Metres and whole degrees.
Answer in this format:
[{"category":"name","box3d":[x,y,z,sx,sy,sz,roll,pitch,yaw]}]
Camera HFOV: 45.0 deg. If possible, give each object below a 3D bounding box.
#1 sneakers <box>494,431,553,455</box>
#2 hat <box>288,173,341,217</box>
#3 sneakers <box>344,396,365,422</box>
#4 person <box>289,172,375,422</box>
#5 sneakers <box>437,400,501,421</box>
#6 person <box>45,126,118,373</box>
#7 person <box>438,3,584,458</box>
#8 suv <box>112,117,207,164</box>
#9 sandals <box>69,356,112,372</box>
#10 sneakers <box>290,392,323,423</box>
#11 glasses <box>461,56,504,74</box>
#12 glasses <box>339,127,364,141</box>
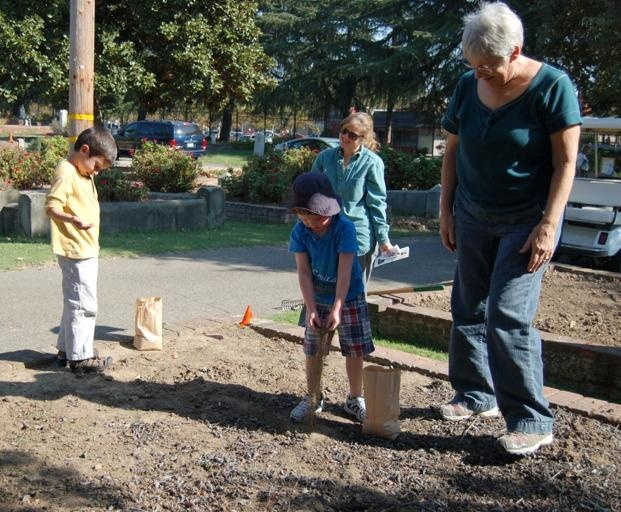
[{"category":"sneakers","box3d":[1.284,1.126,4.580,0.356,0.162,0.138,11,-7,-27]},{"category":"hat","box3d":[0.016,-0.401,4.896,0.267,0.160,0.304,-8,21,-3]},{"category":"sneakers","box3d":[0.296,1.034,5.073,0.081,0.085,0.189,-7,13,-36]},{"category":"person","box3d":[0.142,0.281,4.981,0.579,1.633,0.584,1,15,-1]},{"category":"sneakers","box3d":[1.081,1.046,5.123,0.409,0.177,0.139,5,0,-12]},{"category":"person","box3d":[-1.692,-0.046,5.612,0.452,1.797,0.519,6,15,16]},{"category":"person","box3d":[1.222,-0.198,4.714,0.666,2.679,1.174,-3,15,-17]},{"category":"suv","box3d":[-6.007,-4.067,26.828,3.731,1.542,4.210,4,14,8]},{"category":"sandals","box3d":[-1.647,0.820,5.621,0.266,0.119,0.132,-6,13,-18]},{"category":"sneakers","box3d":[-0.018,1.025,5.070,0.098,0.115,0.295,24,12,29]},{"category":"glasses","box3d":[1.054,-1.131,4.444,0.131,0.040,0.135,16,45,22]},{"category":"glasses","box3d":[0.314,-0.940,5.769,0.171,0.096,0.069,2,15,4]}]
